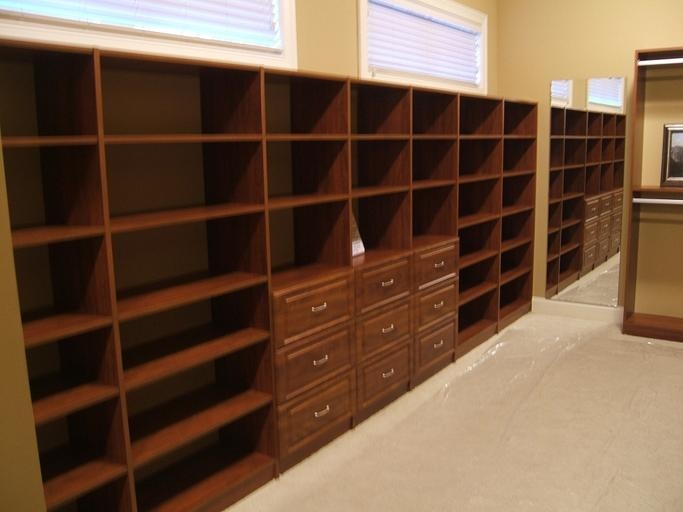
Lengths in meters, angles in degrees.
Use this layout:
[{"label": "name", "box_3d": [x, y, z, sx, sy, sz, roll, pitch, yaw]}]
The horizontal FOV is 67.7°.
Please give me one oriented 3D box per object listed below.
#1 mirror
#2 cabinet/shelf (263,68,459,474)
[{"label": "mirror", "box_3d": [2.366, -0.733, 4.949, 0.675, 1.928, 0.200, 4, 10, 30]}, {"label": "cabinet/shelf", "box_3d": [0.093, 0.135, 3.198, 0.518, 2.542, 2.035, 4, 11, 35]}]
